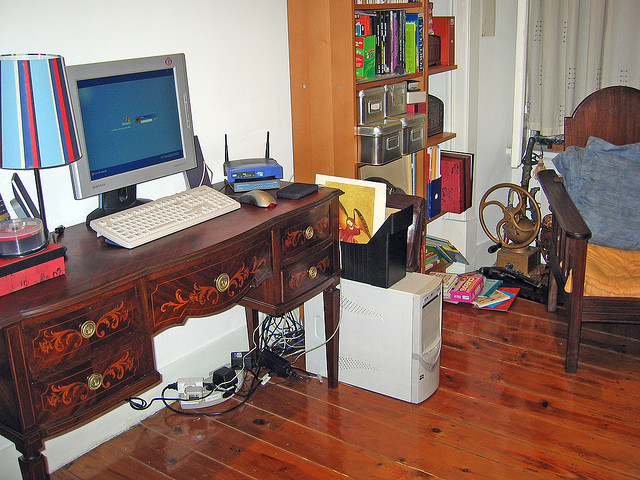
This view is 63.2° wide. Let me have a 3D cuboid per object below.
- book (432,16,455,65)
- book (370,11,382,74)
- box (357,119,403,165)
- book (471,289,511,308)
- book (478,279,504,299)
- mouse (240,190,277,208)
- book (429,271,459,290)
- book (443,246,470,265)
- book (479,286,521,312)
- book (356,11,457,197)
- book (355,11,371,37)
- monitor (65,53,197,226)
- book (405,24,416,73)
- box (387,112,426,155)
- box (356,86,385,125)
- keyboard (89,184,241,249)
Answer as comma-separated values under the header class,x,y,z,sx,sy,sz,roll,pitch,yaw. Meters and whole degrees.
class,x,y,z,sx,sy,sz,roll,pitch,yaw
book,0.831,-1.285,3.370,0.195,0.298,0.158,-12,22,-26
book,0.289,-1.048,2.727,0.033,0.356,0.249,-1,14,13
box,0.327,-0.526,2.792,0.160,0.210,0.295,12,25,35
book,1.065,0.371,3.259,0.234,0.026,0.117,-16,26,-22
book,1.097,0.314,3.356,0.078,0.011,0.234,9,29,29
mouse,-0.258,-0.186,2.142,0.111,0.041,0.071,14,24,29
book,0.806,0.248,3.403,0.182,0.051,0.206,10,23,29
book,0.912,0.106,3.512,0.025,0.232,0.179,-45,2,0
book,1.140,0.376,3.225,0.135,0.011,0.206,8,34,32
book,0.477,-0.778,2.951,0.321,1.012,0.970,6,20,27
book,0.215,-1.092,2.641,0.124,0.132,0.072,16,27,40
monitor,-0.779,-0.420,2.077,0.255,0.612,0.548,22,31,31
book,0.512,-1.080,2.944,0.028,0.258,0.080,15,29,42
box,0.494,-0.605,2.996,0.153,0.205,0.274,6,21,35
box,0.251,-0.716,2.771,0.128,0.175,0.226,13,24,42
keyboard,-0.571,-0.096,1.991,0.228,0.087,0.535,15,31,39
